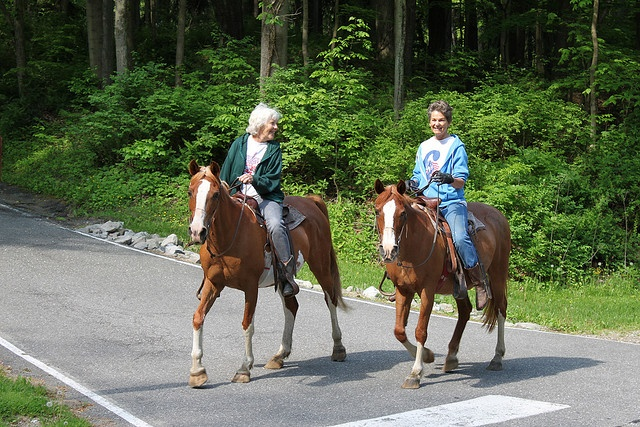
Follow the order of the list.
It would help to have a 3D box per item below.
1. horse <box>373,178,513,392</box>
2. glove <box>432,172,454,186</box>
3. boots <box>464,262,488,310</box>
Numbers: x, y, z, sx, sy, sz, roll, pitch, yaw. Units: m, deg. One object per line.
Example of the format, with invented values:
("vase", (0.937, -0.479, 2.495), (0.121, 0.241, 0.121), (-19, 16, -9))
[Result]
("horse", (2.529, 1.301, 13.899), (3.409, 4.044, 1.372), (-5, 16, -31))
("glove", (2.488, -0.724, 13.616), (0.490, 0.254, 0.176), (1, 14, -13))
("boots", (3.341, 1.464, 14.081), (0.370, 0.799, 1.143), (-24, 6, 22))
